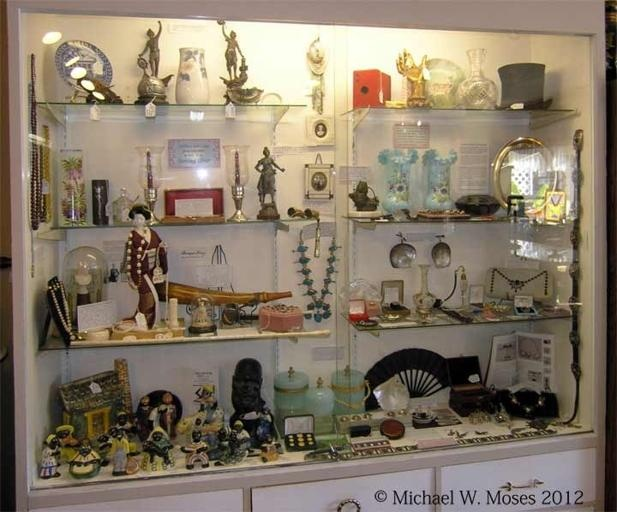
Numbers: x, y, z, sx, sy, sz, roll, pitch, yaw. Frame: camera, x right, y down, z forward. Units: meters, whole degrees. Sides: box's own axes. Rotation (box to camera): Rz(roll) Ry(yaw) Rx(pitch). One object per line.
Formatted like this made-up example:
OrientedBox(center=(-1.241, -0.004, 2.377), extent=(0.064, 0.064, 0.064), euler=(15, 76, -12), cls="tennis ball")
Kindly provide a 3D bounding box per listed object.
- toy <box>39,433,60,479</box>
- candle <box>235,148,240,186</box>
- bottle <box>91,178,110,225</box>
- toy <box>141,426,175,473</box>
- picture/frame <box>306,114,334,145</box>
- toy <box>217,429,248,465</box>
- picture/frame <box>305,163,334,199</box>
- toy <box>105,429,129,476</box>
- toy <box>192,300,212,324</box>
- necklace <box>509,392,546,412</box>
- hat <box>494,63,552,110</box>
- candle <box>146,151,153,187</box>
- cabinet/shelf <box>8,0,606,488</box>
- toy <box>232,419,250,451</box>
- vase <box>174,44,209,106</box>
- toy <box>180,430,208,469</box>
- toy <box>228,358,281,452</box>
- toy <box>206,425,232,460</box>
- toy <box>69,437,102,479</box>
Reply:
OrientedBox(center=(-1.076, 0.830, 2.554), extent=(0.080, 0.171, 0.106), euler=(-4, 4, -19), cls="toy")
OrientedBox(center=(-0.327, -0.396, 2.801), extent=(0.032, 0.164, 0.010), euler=(-4, 4, -13), cls="candle")
OrientedBox(center=(-0.924, -0.232, 2.733), extent=(0.070, 0.203, 0.036), euler=(-4, 4, -20), cls="bottle")
OrientedBox(center=(-0.624, 0.807, 2.587), extent=(0.131, 0.197, 0.136), euler=(2, -19, -9), cls="toy")
OrientedBox(center=(0.047, -0.612, 2.956), extent=(0.128, 0.138, 0.044), euler=(-1, 6, -4), cls="picture/frame")
OrientedBox(center=(-0.319, 0.817, 2.605), extent=(0.135, 0.130, 0.072), euler=(-4, 4, -12), cls="toy")
OrientedBox(center=(0.042, -0.356, 2.997), extent=(0.157, 0.202, 0.025), euler=(0, 5, -7), cls="picture/frame")
OrientedBox(center=(-0.784, 0.822, 2.555), extent=(0.077, 0.171, 0.088), euler=(-4, 4, -18), cls="toy")
OrientedBox(center=(-0.481, 0.258, 2.760), extent=(0.098, 0.149, 0.094), euler=(1, -3, -9), cls="toy")
OrientedBox(center=(1.035, 0.692, 2.915), extent=(0.091, 0.048, 0.111), euler=(-10, 4, -37), cls="necklace")
OrientedBox(center=(0.983, -0.776, 2.839), extent=(0.197, 0.165, 0.208), euler=(0, 5, -1), cls="hat")
OrientedBox(center=(-0.710, -0.383, 2.743), extent=(0.032, 0.168, 0.010), euler=(-4, 4, -15), cls="candle")
OrientedBox(center=(-0.015, -0.065, 2.756), extent=(1.906, 1.984, 0.637), euler=(-1, 1, -5), cls="cabinet/shelf")
OrientedBox(center=(-0.283, 0.766, 2.629), extent=(0.049, 0.118, 0.086), euler=(-20, 3, -43), cls="toy")
OrientedBox(center=(-0.528, -0.807, 2.809), extent=(0.198, 0.255, 0.210), euler=(-1, 8, -4), cls="vase")
OrientedBox(center=(-0.479, 0.827, 2.600), extent=(0.114, 0.135, 0.096), euler=(-4, 4, -13), cls="toy")
OrientedBox(center=(-0.264, 0.666, 2.764), extent=(0.279, 0.507, 0.304), euler=(2, -26, -12), cls="toy")
OrientedBox(center=(-0.382, 0.801, 2.633), extent=(0.089, 0.139, 0.047), euler=(-2, -8, 32), cls="toy")
OrientedBox(center=(-0.912, 0.828, 2.524), extent=(0.085, 0.054, 0.148), euler=(3, 27, -16), cls="toy")
